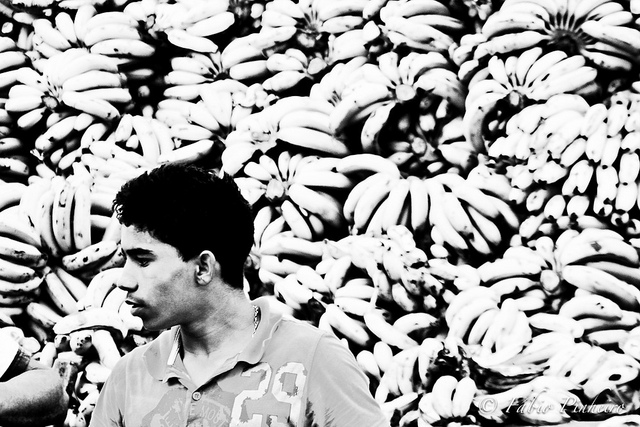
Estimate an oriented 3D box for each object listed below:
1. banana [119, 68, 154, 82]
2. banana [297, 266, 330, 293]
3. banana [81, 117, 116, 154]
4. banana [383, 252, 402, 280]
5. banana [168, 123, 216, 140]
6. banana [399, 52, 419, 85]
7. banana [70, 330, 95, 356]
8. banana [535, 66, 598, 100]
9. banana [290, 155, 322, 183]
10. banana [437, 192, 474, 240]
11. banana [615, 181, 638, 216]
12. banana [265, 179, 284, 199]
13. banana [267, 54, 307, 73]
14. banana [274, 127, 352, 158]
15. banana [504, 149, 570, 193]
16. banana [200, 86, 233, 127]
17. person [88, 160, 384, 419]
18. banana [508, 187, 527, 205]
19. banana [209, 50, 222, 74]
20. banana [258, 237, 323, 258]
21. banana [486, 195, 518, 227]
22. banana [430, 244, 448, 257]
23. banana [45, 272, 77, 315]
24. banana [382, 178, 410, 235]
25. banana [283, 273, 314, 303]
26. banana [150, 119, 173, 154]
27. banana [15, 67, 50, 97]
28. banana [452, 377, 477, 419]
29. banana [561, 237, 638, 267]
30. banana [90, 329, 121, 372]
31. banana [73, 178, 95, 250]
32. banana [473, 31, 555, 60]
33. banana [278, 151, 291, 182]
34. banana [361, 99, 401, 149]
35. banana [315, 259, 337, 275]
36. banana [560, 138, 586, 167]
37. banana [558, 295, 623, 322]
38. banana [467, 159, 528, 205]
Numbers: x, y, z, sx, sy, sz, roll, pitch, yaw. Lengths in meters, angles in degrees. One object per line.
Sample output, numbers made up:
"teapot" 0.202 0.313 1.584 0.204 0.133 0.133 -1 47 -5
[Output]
"banana" -0.891 -0.686 3.586 0.199 0.058 0.076 -5 -4 -6
"banana" -0.028 0.260 3.027 0.134 0.045 0.073 36 76 33
"banana" -1.072 -0.380 3.522 0.048 0.049 0.188 15 52 24
"banana" 0.291 0.193 2.863 0.033 0.056 0.104 -24 87 -56
"banana" -0.607 -0.383 3.402 0.247 0.083 0.086 2 18 2
"banana" 0.377 -0.628 3.118 0.070 0.035 0.134 25 63 -10
"banana" -0.986 0.526 3.040 0.080 0.087 0.109 2 -4 -39
"banana" 0.969 -0.518 2.899 0.223 0.144 0.067 -5 37 -21
"banana" -0.062 -0.217 3.227 0.141 0.029 0.079 -51 29 -18
"banana" 0.531 -0.006 2.924 0.246 0.072 0.075 60 30 -2
"banana" 1.148 -0.067 2.747 0.059 0.041 0.126 11 74 8
"banana" -0.198 -0.109 3.216 0.078 0.070 0.050 22 36 15
"banana" -0.162 -0.690 3.394 0.154 0.076 0.082 10 19 -2
"banana" -0.018 -0.321 3.222 0.233 0.064 0.054 18 65 -1
"banana" 0.843 -0.163 2.827 0.202 0.141 0.057 -8 5 8
"banana" -0.489 -0.534 3.427 0.125 0.055 0.209 -24 91 -28
"person" -0.281 0.334 2.364 0.848 0.749 0.547 7 35 -7
"banana" 0.772 -0.071 2.888 0.050 0.067 0.040 31 39 -46
"banana" -0.495 -0.742 3.500 0.031 0.146 0.050 -19 4 5
"banana" -0.169 0.139 3.200 0.398 0.114 0.093 1 79 14
"banana" 0.720 -0.015 2.894 0.146 0.030 0.039 42 82 1
"banana" 0.468 0.142 2.893 0.035 0.023 0.061 -42 45 -22
"banana" -1.154 0.352 3.257 0.045 0.058 0.179 -32 96 -26
"banana" 0.289 -0.039 3.034 0.067 0.265 0.077 25 23 26
"banana" -0.091 0.313 3.029 0.072 0.049 0.175 -19 46 -36
"banana" -0.754 -0.366 3.487 0.175 0.044 0.059 61 8 3
"banana" -1.425 -0.630 3.600 0.159 0.108 0.043 16 40 26
"banana" 0.524 0.652 2.649 0.068 0.044 0.152 16 82 5
"banana" 1.054 0.145 2.764 0.276 0.132 0.058 8 34 -5
"banana" -0.892 0.558 3.068 0.147 0.114 0.083 31 39 25
"banana" -1.078 0.006 3.315 0.076 0.208 0.290 -11 46 -4
"banana" 0.809 -0.694 3.003 0.314 0.091 0.060 -10 14 5
"banana" -0.157 -0.215 3.253 0.038 0.036 0.141 6 48 -13
"banana" 0.289 -0.394 3.145 0.125 0.154 0.461 47 11 -12
"banana" 0.025 0.218 3.071 0.085 0.029 0.047 -30 77 -2
"banana" 0.974 -0.244 2.813 0.063 0.043 0.132 36 84 9
"banana" 1.021 0.346 2.716 0.063 0.219 0.106 43 64 -12
"banana" 0.713 -0.119 2.950 0.227 0.131 0.080 30 -3 24
